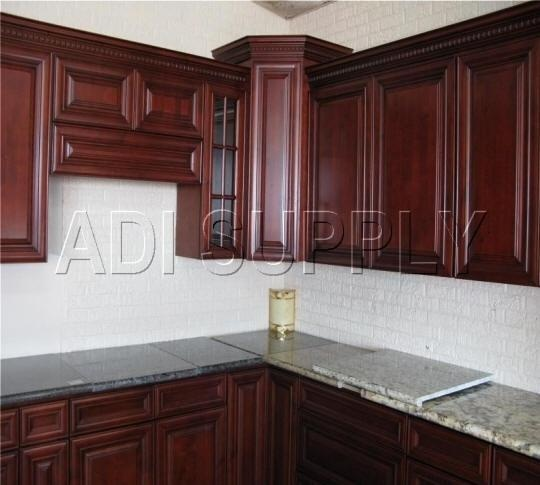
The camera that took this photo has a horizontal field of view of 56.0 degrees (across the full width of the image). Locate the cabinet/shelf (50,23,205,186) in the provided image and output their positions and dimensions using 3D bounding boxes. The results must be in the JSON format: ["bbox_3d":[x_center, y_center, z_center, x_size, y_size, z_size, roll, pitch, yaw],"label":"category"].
[{"bbox_3d":[-0.782,-0.727,2.775,0.904,0.829,0.332,1,-2,-36],"label":"cabinet/shelf"}]

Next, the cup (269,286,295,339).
[{"bbox_3d":[0.090,0.496,3.644,0.174,0.244,0.154,-2,1,0],"label":"cup"}]
